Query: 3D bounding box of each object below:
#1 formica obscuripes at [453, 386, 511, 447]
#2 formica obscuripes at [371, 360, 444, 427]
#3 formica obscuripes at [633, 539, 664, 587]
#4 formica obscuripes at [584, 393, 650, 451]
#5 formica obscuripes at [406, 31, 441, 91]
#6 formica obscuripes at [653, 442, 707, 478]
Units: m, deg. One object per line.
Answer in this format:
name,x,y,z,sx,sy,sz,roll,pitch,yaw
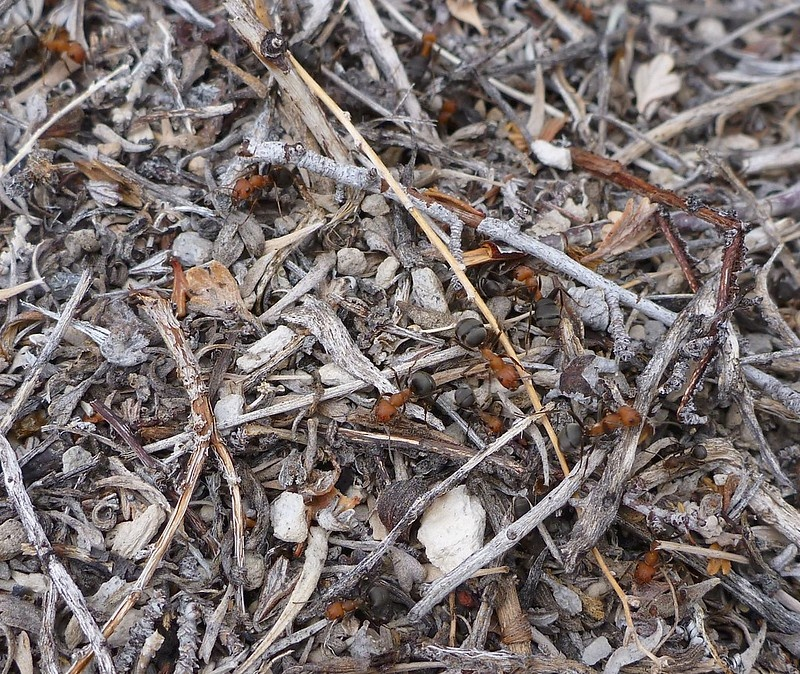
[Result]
formica obscuripes,0.303,0.283,2.984,0.174,0.192,0.136,0,27,-21
formica obscuripes,0.011,0.221,2.926,0.267,0.103,0.161,-37,-14,-3
formica obscuripes,0.911,0.837,2.911,0.074,0.170,0.077,5,19,-45
formica obscuripes,0.834,0.321,2.924,0.269,0.121,0.287,3,-12,7
formica obscuripes,0.118,-1.249,3.514,0.080,0.228,0.071,14,17,-23
formica obscuripes,1.083,0.464,2.990,0.153,0.103,0.055,-29,0,16
